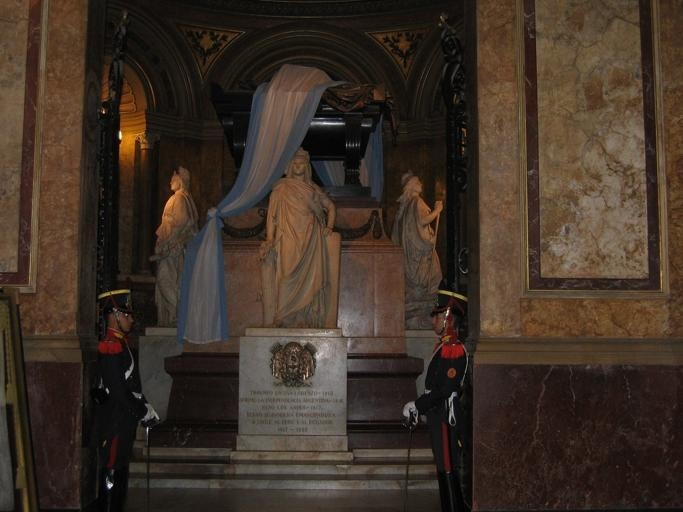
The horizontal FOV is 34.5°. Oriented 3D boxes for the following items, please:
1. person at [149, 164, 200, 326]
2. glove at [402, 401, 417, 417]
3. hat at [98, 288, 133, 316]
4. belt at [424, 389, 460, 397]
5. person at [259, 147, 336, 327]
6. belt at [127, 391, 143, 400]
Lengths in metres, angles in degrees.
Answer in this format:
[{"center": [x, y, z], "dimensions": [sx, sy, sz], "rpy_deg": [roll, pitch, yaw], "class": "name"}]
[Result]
[{"center": [-2.280, -0.145, 14.976], "dimensions": [0.594, 2.204, 0.459], "rpy_deg": [2, -7, -8], "class": "person"}, {"center": [0.605, 1.365, 9.858], "dimensions": [0.072, 0.163, 0.225], "rpy_deg": [2, 5, 8], "class": "glove"}, {"center": [-2.052, 0.403, 9.935], "dimensions": [0.259, 0.156, 0.196], "rpy_deg": [-5, -4, 42], "class": "hat"}, {"center": [0.882, 1.222, 9.743], "dimensions": [0.338, 0.100, 0.220], "rpy_deg": [1, -8, 1], "class": "belt"}, {"center": [-0.492, -0.053, 12.288], "dimensions": [0.832, 1.683, 0.247], "rpy_deg": [2, -7, -3], "class": "person"}, {"center": [-1.815, 1.227, 9.751], "dimensions": [0.060, 0.039, 0.080], "rpy_deg": [12, -1, -41], "class": "belt"}]
